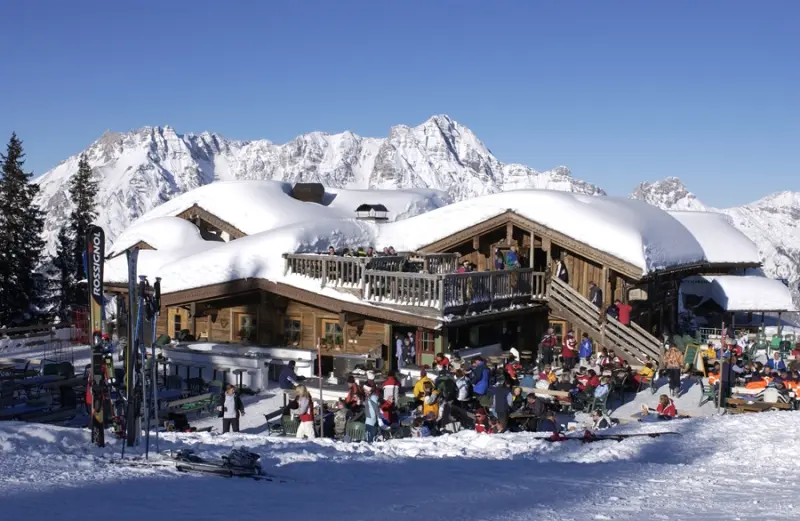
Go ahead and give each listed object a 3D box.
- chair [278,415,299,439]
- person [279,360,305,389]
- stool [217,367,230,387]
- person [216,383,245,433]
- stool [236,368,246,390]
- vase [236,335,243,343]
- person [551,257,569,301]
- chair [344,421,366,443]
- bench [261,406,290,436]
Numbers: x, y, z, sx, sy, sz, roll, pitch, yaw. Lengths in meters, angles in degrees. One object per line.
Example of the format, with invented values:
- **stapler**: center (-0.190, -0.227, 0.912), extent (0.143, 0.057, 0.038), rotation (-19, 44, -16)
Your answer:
- **chair**: center (-3.455, 5.192, 27.806), extent (0.590, 0.644, 0.582), rotation (-3, -8, 21)
- **person**: center (-3.719, 3.979, 30.875), extent (0.746, 1.047, 1.545), rotation (1, 9, -6)
- **stool**: center (-6.497, 4.346, 33.019), extent (0.648, 0.776, 0.650), rotation (0, 8, -14)
- **person**: center (-5.323, 4.720, 28.300), extent (0.714, 1.688, 1.140), rotation (0, 9, -12)
- **stool**: center (-5.956, 4.449, 33.357), extent (0.601, 0.863, 0.591), rotation (0, 1, -7)
- **vase**: center (-6.804, 3.398, 38.136), extent (0.261, 0.204, 0.217), rotation (-1, -4, 19)
- **person**: center (6.961, 0.645, 38.399), extent (0.730, 1.101, 2.269), rotation (4, 9, 10)
- **chair**: center (-1.355, 5.231, 27.340), extent (0.670, 0.481, 0.506), rotation (3, 9, 2)
- **bench**: center (-3.964, 5.225, 28.727), extent (0.383, 0.537, 1.100), rotation (0, 0, 11)
